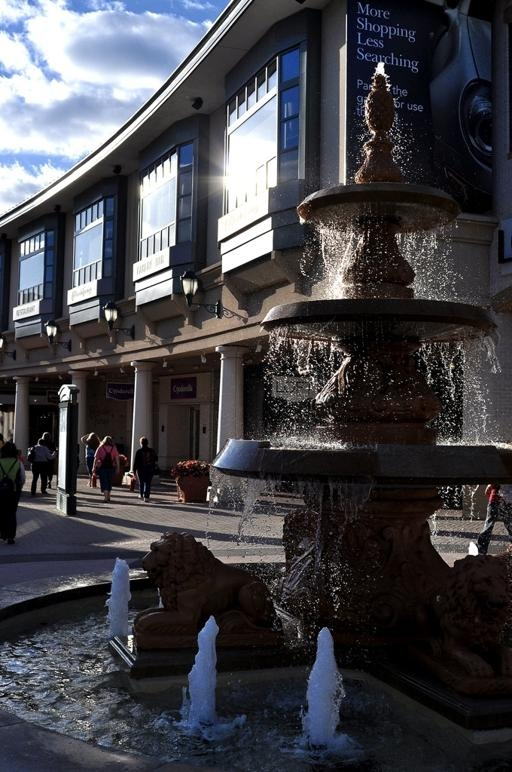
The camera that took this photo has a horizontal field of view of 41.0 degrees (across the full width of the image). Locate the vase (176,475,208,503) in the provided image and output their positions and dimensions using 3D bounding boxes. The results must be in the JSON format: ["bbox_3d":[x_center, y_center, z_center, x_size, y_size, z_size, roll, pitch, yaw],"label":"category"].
[{"bbox_3d":[-1.617,2.664,17.619,0.826,0.692,0.781,-3,-5,-2],"label":"vase"}]

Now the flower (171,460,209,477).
[{"bbox_3d":[-1.613,2.155,17.895,0.558,0.331,0.579,3,-5,17],"label":"flower"}]
